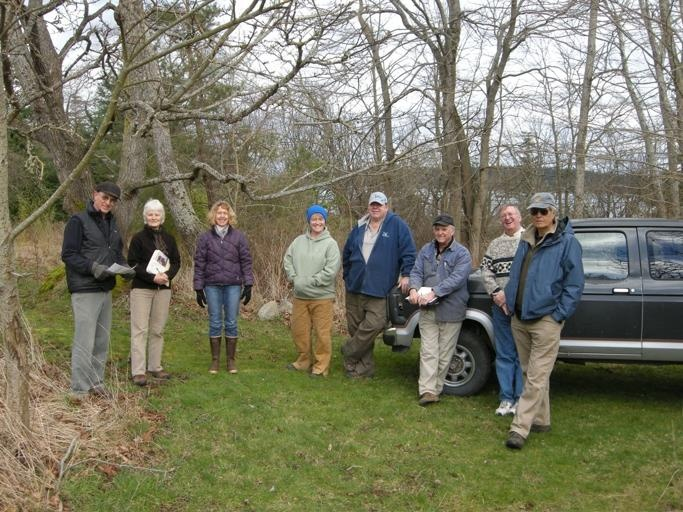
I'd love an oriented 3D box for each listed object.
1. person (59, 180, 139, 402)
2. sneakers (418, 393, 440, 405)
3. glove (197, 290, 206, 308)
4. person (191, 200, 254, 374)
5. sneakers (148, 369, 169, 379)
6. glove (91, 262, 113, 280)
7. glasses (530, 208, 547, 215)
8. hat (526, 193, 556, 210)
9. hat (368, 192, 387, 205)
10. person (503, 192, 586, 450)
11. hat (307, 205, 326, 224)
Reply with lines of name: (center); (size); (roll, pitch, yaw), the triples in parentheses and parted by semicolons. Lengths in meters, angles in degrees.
person: (-2.759, 0.355, 6.681); (0.674, 2.364, 0.838); (-2, 11, -27)
sneakers: (1.073, 1.781, 7.392); (0.106, 0.124, 0.275); (-24, -30, 28)
glove: (-1.882, 0.564, 8.015); (0.125, 0.281, 0.248); (2, 10, -6)
person: (-1.600, 0.444, 8.081); (0.759, 2.325, 0.765); (1, 10, -13)
sneakers: (-2.271, 1.477, 7.493); (0.274, 0.125, 0.106); (-1, 4, 6)
glove: (-2.623, 0.164, 6.519); (0.197, 0.192, 0.119); (-1, 11, -24)
glasses: (2.172, -0.494, 6.538); (0.172, 0.086, 0.046); (7, 11, 16)
hat: (2.245, -0.620, 6.622); (0.192, 0.148, 0.293); (-1, 0, 35)
hat: (0.514, -0.821, 8.438); (0.225, 0.180, 0.317); (4, 10, 1)
person: (2.209, 0.669, 6.513); (0.755, 2.675, 0.890); (5, 10, 8)
hat: (-0.365, -0.656, 8.668); (0.294, 0.301, 0.320); (-3, -2, -1)
